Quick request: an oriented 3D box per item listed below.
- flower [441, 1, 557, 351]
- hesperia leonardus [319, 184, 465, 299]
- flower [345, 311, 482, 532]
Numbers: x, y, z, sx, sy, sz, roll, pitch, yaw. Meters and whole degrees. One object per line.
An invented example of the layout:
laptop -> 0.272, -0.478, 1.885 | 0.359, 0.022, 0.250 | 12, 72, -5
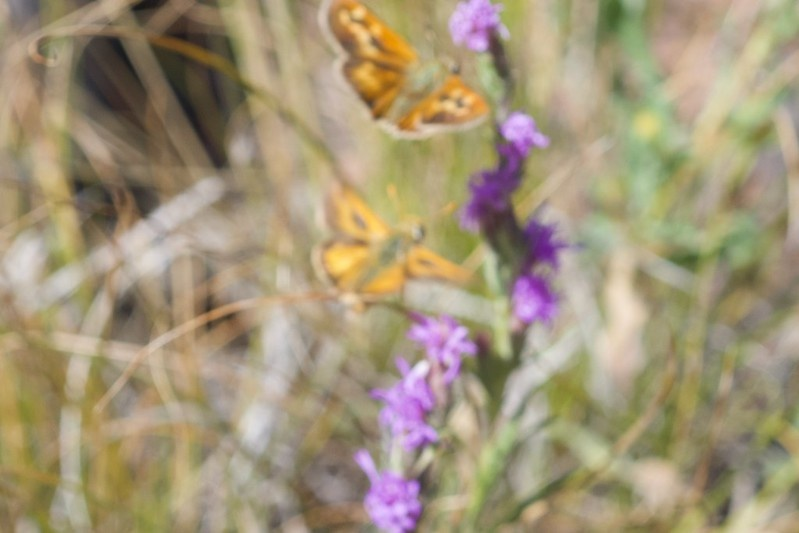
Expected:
flower -> 0.107, -0.101, 1.325 | 0.099, 0.231, 0.209 | -3, 38, 1
hesperia leonardus -> -0.005, -0.017, 1.324 | 0.149, 0.068, 0.057 | 0, 38, 6
flower -> 0.012, 0.150, 1.316 | 0.082, 0.141, 0.154 | 18, 44, 27
